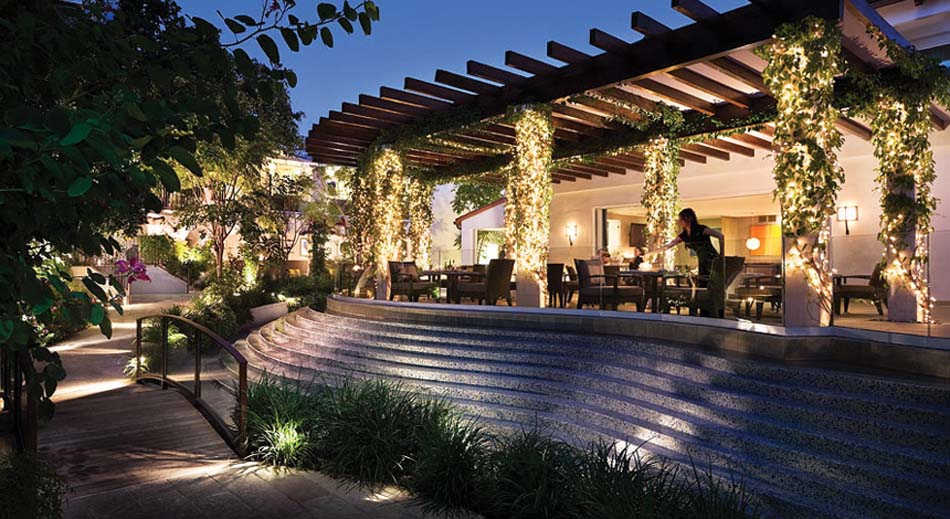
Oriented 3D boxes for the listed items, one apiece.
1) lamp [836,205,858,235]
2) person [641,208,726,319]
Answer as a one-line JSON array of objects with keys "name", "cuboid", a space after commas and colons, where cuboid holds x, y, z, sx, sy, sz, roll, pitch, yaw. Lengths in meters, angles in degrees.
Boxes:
[{"name": "lamp", "cuboid": [9.210, -0.997, 14.778, 0.465, 0.696, 0.267, 1, -4, 28]}, {"name": "person", "cuboid": [3.694, -0.004, 9.717, 0.664, 1.823, 1.492, 3, -4, 3]}]
